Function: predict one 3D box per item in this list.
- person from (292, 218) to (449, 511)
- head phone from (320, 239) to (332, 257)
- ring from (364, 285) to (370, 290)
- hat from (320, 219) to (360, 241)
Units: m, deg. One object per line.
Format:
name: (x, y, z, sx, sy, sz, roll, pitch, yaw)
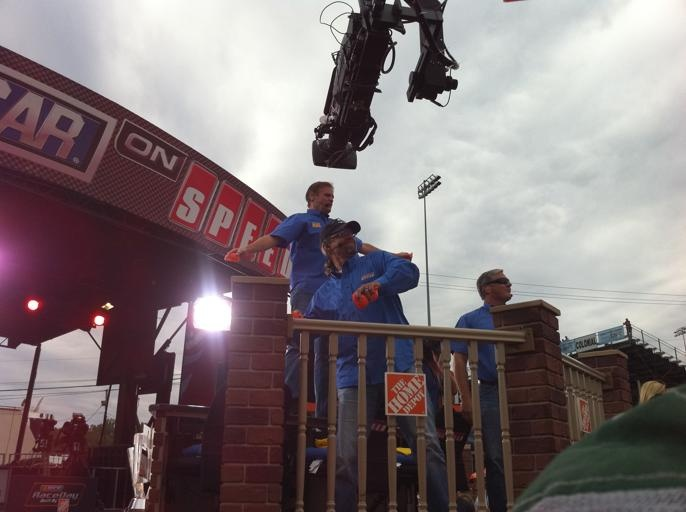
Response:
person: (0.128, 0.751, 4.014, 0.692, 2.346, 1.290, 14, -26, -32)
head phone: (-0.148, -0.080, 4.525, 0.085, 0.115, 0.125, 3, -41, 1)
ring: (0.179, 0.235, 3.755, 0.030, 0.032, 0.012, -3, -22, 6)
hat: (-0.014, -0.225, 4.402, 0.222, 0.147, 0.320, 5, -25, -41)
